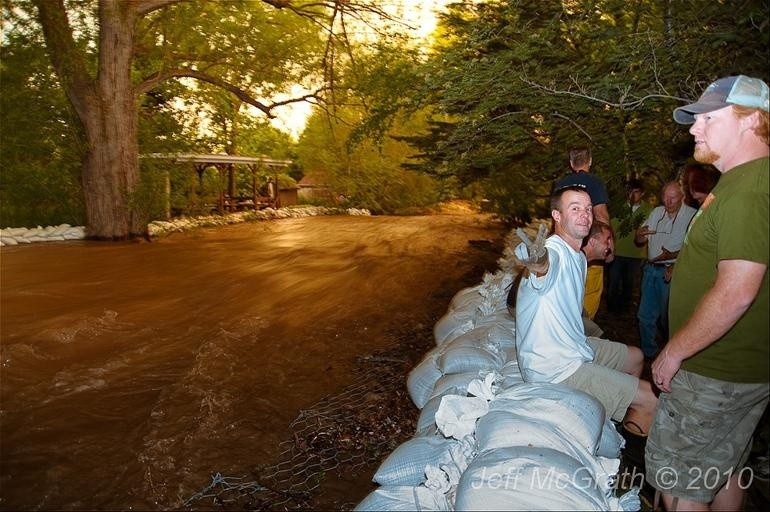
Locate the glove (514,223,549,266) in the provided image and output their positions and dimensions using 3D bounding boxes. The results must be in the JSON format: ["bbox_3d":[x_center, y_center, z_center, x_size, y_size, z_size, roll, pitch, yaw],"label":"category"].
[{"bbox_3d":[1.057,-0.098,3.508,0.221,0.299,0.468,2,7,17],"label":"glove"}]
